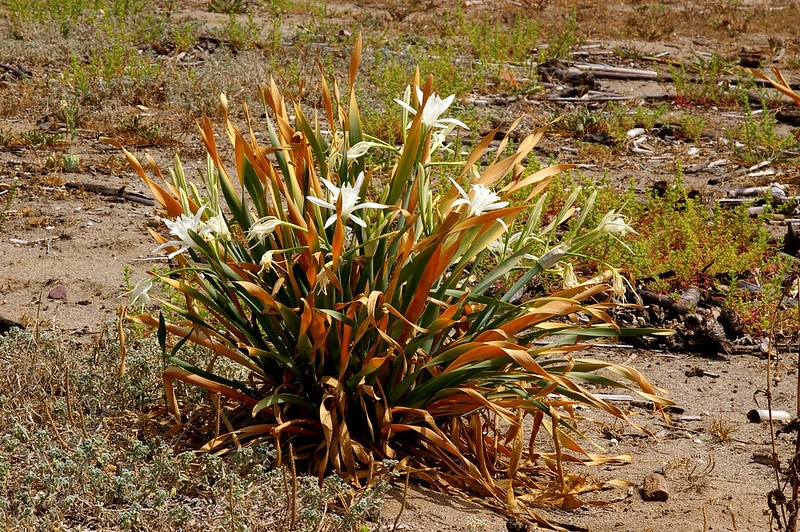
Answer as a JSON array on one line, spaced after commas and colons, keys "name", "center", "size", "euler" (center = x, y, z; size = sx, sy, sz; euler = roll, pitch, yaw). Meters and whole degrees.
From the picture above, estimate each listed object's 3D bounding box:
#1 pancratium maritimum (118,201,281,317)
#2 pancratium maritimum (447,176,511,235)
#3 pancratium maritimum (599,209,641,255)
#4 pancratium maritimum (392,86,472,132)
[{"name": "pancratium maritimum", "center": [-1.339, -0.116, 8.658], "size": [0.903, 0.484, 0.668], "euler": [-16, 10, -20]}, {"name": "pancratium maritimum", "center": [0.530, -0.443, 8.688], "size": [0.360, 0.157, 0.351], "euler": [33, 20, -28]}, {"name": "pancratium maritimum", "center": [1.484, -0.228, 8.927], "size": [0.156, 0.340, 0.334], "euler": [-25, 54, 13]}, {"name": "pancratium maritimum", "center": [0.229, -0.976, 8.888], "size": [0.381, 0.188, 0.396], "euler": [40, 11, 28]}]
